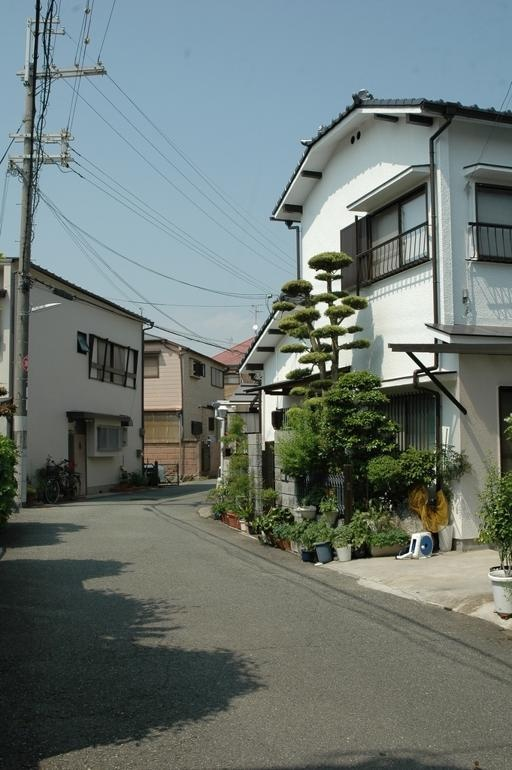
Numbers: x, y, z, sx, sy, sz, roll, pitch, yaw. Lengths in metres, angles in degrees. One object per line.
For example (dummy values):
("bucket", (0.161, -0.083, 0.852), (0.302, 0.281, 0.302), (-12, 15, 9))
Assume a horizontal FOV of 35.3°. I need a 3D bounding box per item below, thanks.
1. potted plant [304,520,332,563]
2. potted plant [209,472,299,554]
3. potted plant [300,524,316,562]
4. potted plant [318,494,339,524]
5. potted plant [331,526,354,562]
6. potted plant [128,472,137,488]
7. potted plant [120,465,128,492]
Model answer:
("potted plant", (0.906, 2.260, 11.417), (0.371, 0.328, 0.439), (-2, -8, -13))
("potted plant", (-0.142, 2.331, 14.667), (0.646, 1.055, 2.593), (1, 0, -18))
("potted plant", (0.758, 2.294, 11.604), (0.281, 0.441, 0.426), (4, -13, 0))
("potted plant", (1.098, 1.902, 12.333), (0.301, 0.451, 0.370), (0, 0, 37))
("potted plant", (1.199, 2.219, 11.226), (0.280, 0.440, 0.487), (0, -4, -2))
("potted plant", (-4.371, 3.396, 28.455), (0.324, 0.452, 0.963), (1, -4, -4))
("potted plant", (-4.579, 3.269, 27.953), (0.312, 0.727, 1.412), (1, -4, -10))
